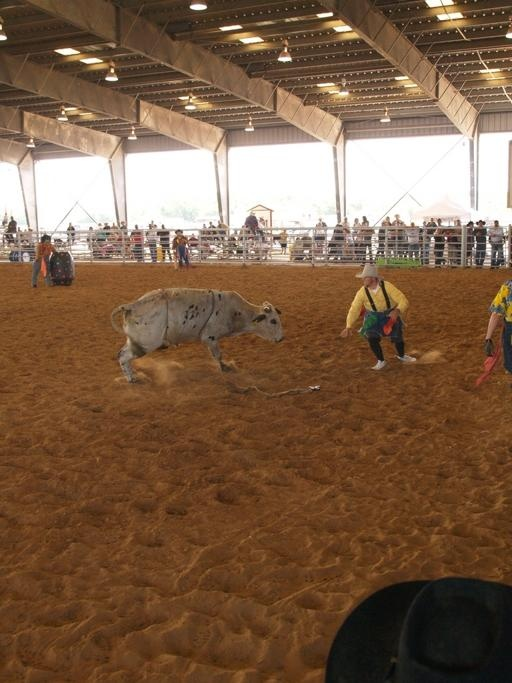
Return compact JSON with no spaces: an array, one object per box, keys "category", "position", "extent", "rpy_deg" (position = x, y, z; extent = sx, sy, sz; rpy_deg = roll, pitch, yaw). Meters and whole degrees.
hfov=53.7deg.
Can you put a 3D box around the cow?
[{"category":"cow","position":[-0.292,-0.205,5.673],"extent":[2.545,1.212,0.728],"rpy_deg":[-4,10,-23]}]

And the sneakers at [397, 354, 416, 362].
[{"category":"sneakers","position":[1.704,0.199,5.777],"extent":[0.225,0.089,0.078],"rpy_deg":[1,26,0]}]

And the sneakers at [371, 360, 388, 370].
[{"category":"sneakers","position":[1.317,0.254,5.494],"extent":[0.115,0.104,0.168],"rpy_deg":[9,17,34]}]

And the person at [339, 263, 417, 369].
[{"category":"person","position":[1.323,-0.275,5.526],"extent":[0.844,1.113,0.540],"rpy_deg":[-13,19,-41]}]

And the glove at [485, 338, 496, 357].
[{"category":"glove","position":[2.162,0.057,4.700],"extent":[0.073,0.211,0.165],"rpy_deg":[1,4,18]}]

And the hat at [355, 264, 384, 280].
[{"category":"hat","position":[1.230,-0.764,5.524],"extent":[0.182,0.161,0.513],"rpy_deg":[4,14,18]}]

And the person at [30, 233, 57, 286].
[{"category":"person","position":[-5.207,-1.966,12.359],"extent":[0.596,1.199,1.177],"rpy_deg":[-7,15,-22]}]
